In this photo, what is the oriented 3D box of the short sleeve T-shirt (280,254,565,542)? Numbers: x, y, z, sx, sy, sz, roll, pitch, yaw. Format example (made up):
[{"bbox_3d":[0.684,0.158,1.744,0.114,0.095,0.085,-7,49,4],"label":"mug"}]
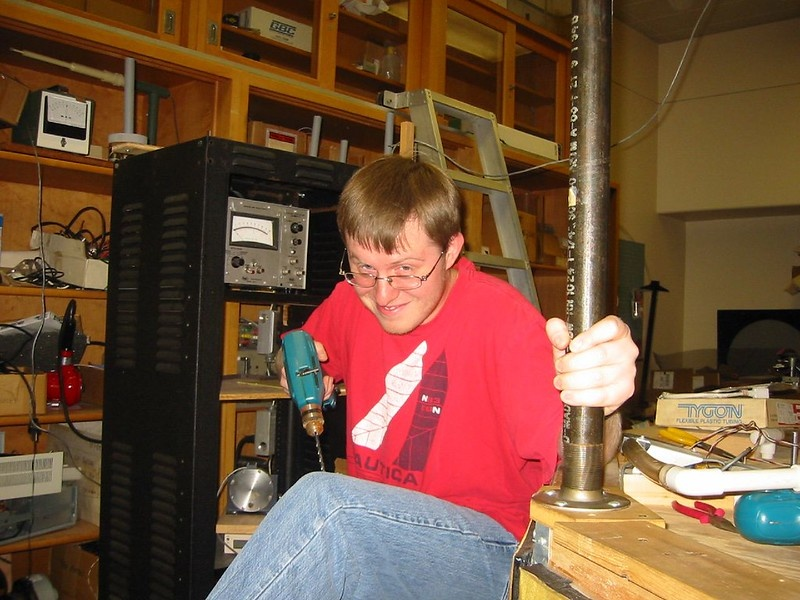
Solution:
[{"bbox_3d":[0.106,0.204,1.732,0.666,0.619,0.255,-18,-7,39],"label":"short sleeve T-shirt"}]

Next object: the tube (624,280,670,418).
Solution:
[{"bbox_3d":[2.169,0.437,5.797,0.494,1.327,0.115,17,-27,-13],"label":"tube"}]

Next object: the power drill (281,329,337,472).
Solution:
[{"bbox_3d":[-0.275,0.241,1.963,0.126,0.477,0.188,-12,-24,-4],"label":"power drill"}]
